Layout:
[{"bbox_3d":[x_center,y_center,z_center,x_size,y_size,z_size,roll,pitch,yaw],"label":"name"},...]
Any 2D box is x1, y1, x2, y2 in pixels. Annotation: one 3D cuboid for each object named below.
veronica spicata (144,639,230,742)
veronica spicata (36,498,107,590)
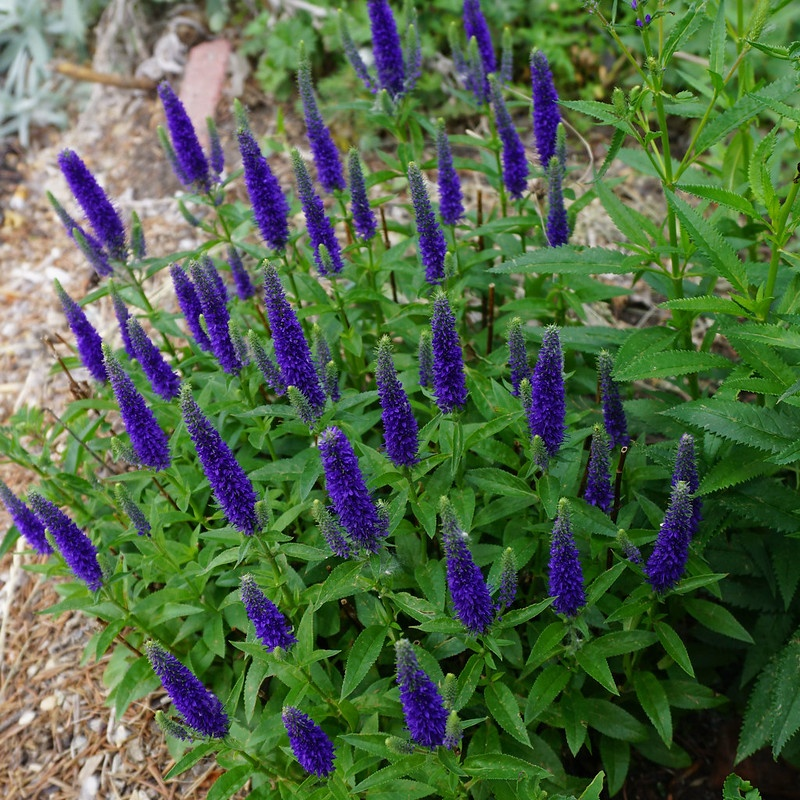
[{"bbox_3d":[-1.012,1.385,4.489,0.191,0.670,0.239,-20,39,2],"label":"veronica spicata"},{"bbox_3d":[-1.756,0.755,4.987,0.165,0.682,0.230,-38,42,-18],"label":"veronica spicata"}]
